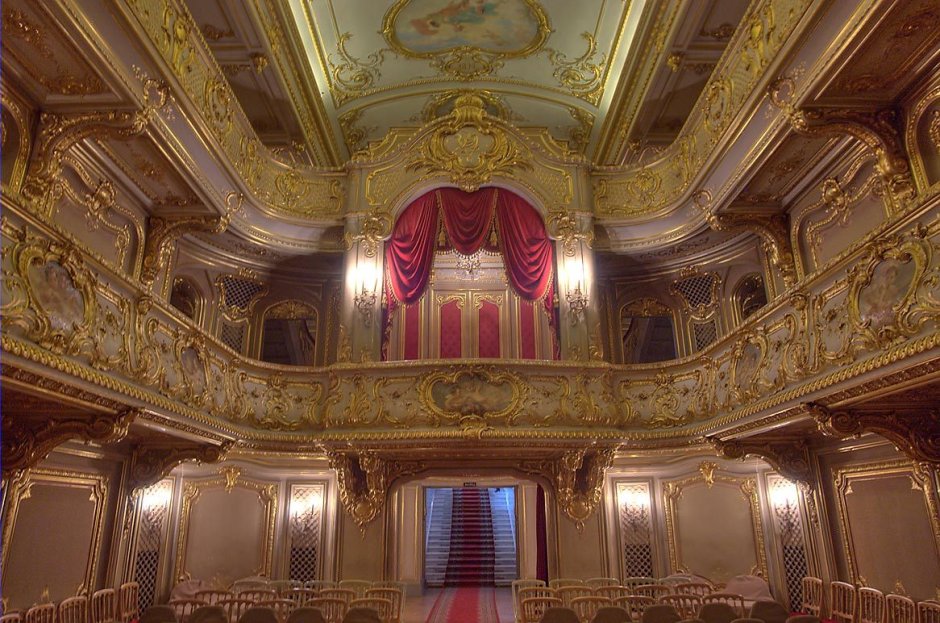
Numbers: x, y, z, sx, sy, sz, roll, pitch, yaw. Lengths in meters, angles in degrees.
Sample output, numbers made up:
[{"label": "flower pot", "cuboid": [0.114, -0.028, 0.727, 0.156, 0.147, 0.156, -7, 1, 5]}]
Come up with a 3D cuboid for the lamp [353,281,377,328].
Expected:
[{"label": "lamp", "cuboid": [-1.942, -0.158, 11.055, 0.501, 0.859, 0.339, -7, -18, 23]}]
